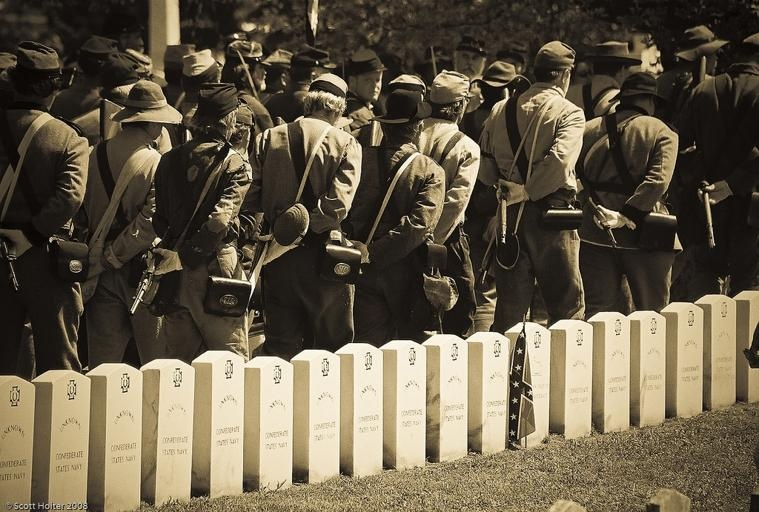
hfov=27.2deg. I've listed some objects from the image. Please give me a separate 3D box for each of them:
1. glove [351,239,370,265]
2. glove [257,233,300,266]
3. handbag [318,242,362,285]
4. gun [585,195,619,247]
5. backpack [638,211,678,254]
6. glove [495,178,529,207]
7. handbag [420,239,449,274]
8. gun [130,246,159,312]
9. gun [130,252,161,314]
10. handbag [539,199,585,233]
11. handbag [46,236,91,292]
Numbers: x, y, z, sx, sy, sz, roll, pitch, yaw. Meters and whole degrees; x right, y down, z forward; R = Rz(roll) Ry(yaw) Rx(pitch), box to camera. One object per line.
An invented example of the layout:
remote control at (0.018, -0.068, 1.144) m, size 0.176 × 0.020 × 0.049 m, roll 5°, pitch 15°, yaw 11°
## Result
glove at (-0.157, -0.047, 14.411) m, size 0.168 × 0.166 × 0.194 m, roll 4°, pitch -3°, yaw 18°
glove at (-0.931, -0.044, 14.522) m, size 0.424 × 0.258 × 0.137 m, roll 2°, pitch 6°, yaw 41°
handbag at (-0.372, 0.073, 14.393) m, size 0.432 × 0.376 × 0.322 m, roll 10°, pitch -3°, yaw -19°
gun at (2.204, -0.358, 15.776) m, size 0.158 × 0.588 × 0.181 m, roll -32°, pitch -18°, yaw 11°
backpack at (2.749, -0.237, 15.651) m, size 0.375 × 0.359 × 0.366 m, roll 7°, pitch 9°, yaw 8°
glove at (1.306, -0.625, 15.607) m, size 0.339 × 0.251 × 0.089 m, roll 2°, pitch 6°, yaw 41°
handbag at (0.501, 0.014, 14.559) m, size 0.195 × 0.329 × 0.183 m, roll -6°, pitch 6°, yaw -36°
gun at (-2.130, 0.189, 14.275) m, size 0.170 × 0.582 × 0.096 m, roll 16°, pitch -16°, yaw 28°
gun at (-2.119, 0.224, 14.262) m, size 0.156 × 0.599 × 0.092 m, roll 38°, pitch -24°, yaw -32°
handbag at (1.745, -0.362, 15.317) m, size 0.349 × 0.276 × 0.271 m, roll 2°, pitch -6°, yaw -7°
handbag at (-2.747, 0.098, 13.952) m, size 0.498 × 0.562 × 0.341 m, roll 3°, pitch -6°, yaw -44°
